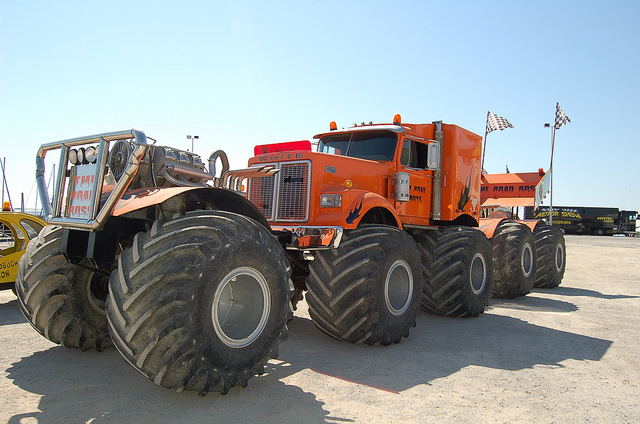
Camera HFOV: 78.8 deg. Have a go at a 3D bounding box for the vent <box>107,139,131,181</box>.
[{"bbox_3d":[-2.482,-0.656,4.813,0.146,0.645,0.590,5,-10,-43],"label":"vent"}]

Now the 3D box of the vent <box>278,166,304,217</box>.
[{"bbox_3d":[-0.452,-0.308,6.262,0.453,0.916,0.063,1,-11,-2],"label":"vent"}]

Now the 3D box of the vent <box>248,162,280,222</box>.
[{"bbox_3d":[-0.909,-0.303,6.422,0.594,0.928,0.201,0,-5,25],"label":"vent"}]
